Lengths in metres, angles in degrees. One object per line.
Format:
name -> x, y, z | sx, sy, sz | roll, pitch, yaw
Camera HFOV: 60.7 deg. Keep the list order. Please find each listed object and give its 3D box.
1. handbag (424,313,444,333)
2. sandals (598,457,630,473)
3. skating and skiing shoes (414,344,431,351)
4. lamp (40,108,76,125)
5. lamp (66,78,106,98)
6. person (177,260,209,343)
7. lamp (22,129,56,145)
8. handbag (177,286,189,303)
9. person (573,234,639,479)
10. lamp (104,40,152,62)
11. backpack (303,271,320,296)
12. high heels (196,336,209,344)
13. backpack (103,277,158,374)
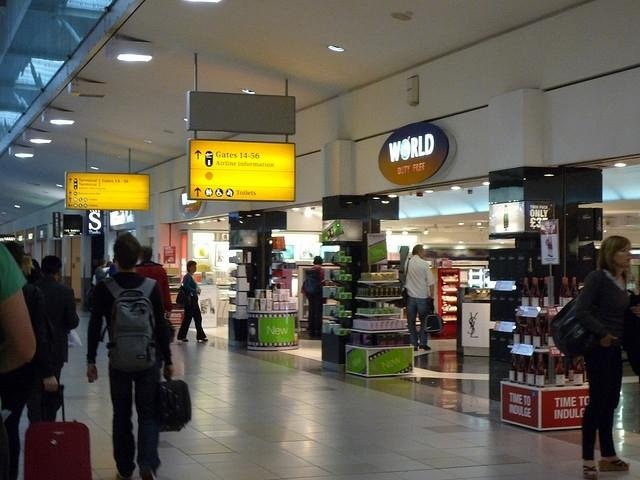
handbag -> 2.269, 1.640, 11.006 | 0.410, 0.596, 0.320 | 1, -6, 8
sandals -> 2.398, 1.805, 4.457 | 0.262, 0.105, 0.097 | -1, -1, -7
skating and skiing shoes -> 2.101, 2.200, 11.399 | 0.409, 0.178, 0.139 | 0, -1, -12
lamp -> -6.394, -2.994, 13.335 | 0.712, 0.279, 0.774 | 3, -2, -27
lamp -> -4.819, -3.080, 11.284 | 0.680, 0.216, 1.069 | 3, -2, -23
person -> -3.061, 1.463, 13.169 | 0.724, 1.914, 0.924 | 3, -3, -15
lamp -> -7.844, -2.860, 15.044 | 0.824, 0.272, 0.787 | 2, -2, -45
handbag -> -3.331, 1.320, 13.112 | 0.259, 0.451, 0.339 | 3, -3, -21
person -> 2.319, 0.915, 4.418 | 0.439, 1.910, 0.534 | 0, -3, 31
lamp -> -3.117, -3.048, 8.906 | 0.565, 0.241, 0.435 | 1, 0, -22
backpack -> -0.219, 1.095, 13.793 | 0.631, 0.752, 0.410 | 0, -6, 6
high heels -> -2.811, 2.378, 13.040 | 0.301, 0.211, 0.102 | 5, -7, -12
backpack -> -1.434, 0.636, 4.107 | 0.407, 0.704, 0.258 | 2, -3, -11
